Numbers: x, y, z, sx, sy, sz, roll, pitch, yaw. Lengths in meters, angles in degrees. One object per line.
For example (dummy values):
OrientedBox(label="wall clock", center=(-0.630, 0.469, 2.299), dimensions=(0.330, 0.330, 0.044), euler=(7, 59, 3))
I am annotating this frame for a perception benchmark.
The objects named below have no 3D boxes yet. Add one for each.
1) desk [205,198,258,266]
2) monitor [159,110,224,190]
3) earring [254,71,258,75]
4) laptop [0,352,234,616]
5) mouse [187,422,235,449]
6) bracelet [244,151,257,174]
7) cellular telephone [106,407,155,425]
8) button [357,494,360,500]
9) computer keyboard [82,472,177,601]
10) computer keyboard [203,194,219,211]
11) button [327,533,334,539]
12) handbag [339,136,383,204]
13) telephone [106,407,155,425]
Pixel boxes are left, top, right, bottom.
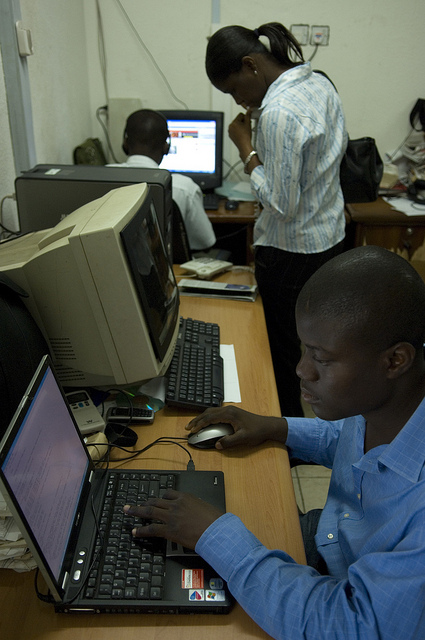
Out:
OrientedBox(label="desk", center=(0.123, -0.509, 2.919), dimensions=(0.294, 0.359, 0.368), euler=(-1, 35, 8))
OrientedBox(label="monitor", center=(-0.133, -1.068, 3.114), dimensions=(0.426, 0.432, 0.237), euler=(4, 14, 8))
OrientedBox(label="earring", center=(0.146, -0.840, 1.687), dimensions=(0.007, 0.009, 0.013), euler=(-12, 24, 19))
OrientedBox(label="laptop", center=(-0.101, 0.271, 0.796), dimensions=(0.344, 0.310, 0.419), euler=(-2, 29, -4))
OrientedBox(label="mouse", center=(-0.002, 0.230, 1.006), dimensions=(0.070, 0.023, 0.050), euler=(2, 36, -7))
OrientedBox(label="bracelet", center=(0.136, -0.590, 1.859), dimensions=(0.021, 0.070, 0.073), euler=(9, 6, 10))
OrientedBox(label="cellular telephone", center=(-0.181, 0.205, 1.081), dimensions=(0.088, 0.023, 0.043), euler=(2, 30, -8))
OrientedBox(label="button", center=(0.240, 0.288, 0.822), dimensions=(0.005, 0.009, 0.010), euler=(-2, 12, 7))
OrientedBox(label="computer keyboard", center=(-0.133, 0.348, 0.835), dimensions=(0.169, 0.033, 0.409), euler=(4, 7, -8))
OrientedBox(label="computer keyboard", center=(-0.010, -0.683, 2.876), dimensions=(0.095, 0.030, 0.145), euler=(2, 32, 3))
OrientedBox(label="button", center=(0.208, 0.380, 0.879), dimensions=(0.007, 0.002, 0.007), euler=(5, 59, 22))
OrientedBox(label="handbag", center=(0.893, -0.895, 2.933), dimensions=(0.192, 0.332, 0.321), euler=(-26, 22, -16))
OrientedBox(label="telephone", center=(-0.179, 0.205, 1.082), dimensions=(0.088, 0.022, 0.043), euler=(2, 31, -8))
